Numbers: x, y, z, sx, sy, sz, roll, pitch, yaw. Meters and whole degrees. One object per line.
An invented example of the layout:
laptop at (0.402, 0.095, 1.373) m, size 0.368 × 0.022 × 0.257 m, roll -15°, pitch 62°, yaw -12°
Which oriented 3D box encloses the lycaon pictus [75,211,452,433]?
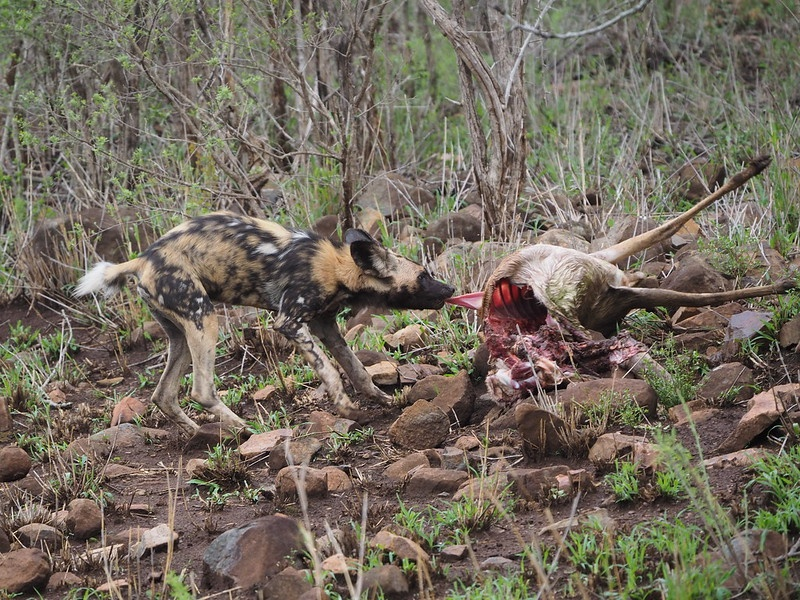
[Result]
lycaon pictus at (-1.053, 0.136, 6.743) m, size 2.666 × 1.442 × 1.064 m, roll -4°, pitch 36°, yaw -2°
